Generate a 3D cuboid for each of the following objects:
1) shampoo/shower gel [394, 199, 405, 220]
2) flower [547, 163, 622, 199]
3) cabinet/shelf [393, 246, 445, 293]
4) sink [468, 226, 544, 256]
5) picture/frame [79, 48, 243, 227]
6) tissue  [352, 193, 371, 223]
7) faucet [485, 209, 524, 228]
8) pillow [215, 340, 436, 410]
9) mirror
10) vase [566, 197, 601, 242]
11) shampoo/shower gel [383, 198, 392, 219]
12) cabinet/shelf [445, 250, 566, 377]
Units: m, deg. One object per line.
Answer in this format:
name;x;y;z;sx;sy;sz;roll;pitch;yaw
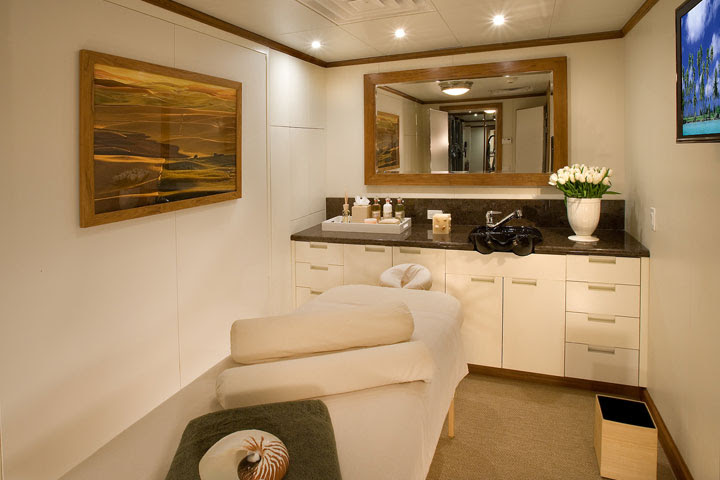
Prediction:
shampoo/shower gel;0.395;-0.307;4.767;0.092;0.192;0.299;-1;7;4
flower;1.816;-0.450;4.003;0.403;0.236;0.416;-1;4;43
cabinet/shelf;0.480;0.229;3.775;0.354;0.340;0.128;1;6;22
sink;1.224;-0.003;4.091;0.575;0.188;0.523;1;7;17
picture/frame;-1.370;-0.694;3.279;0.053;1.045;1.361;2;3;29
tissue ;0.015;-0.290;4.700;0.206;0.391;0.233;0;1;15
faucet;1.293;-0.192;4.360;0.317;0.144;0.461;1;7;18
pillow;-0.081;0.567;2.439;1.194;0.260;0.354;-2;7;-11
mirror;1.075;-1.132;4.582;1.284;0.870;0.028;2;7;24
vase;1.750;-0.175;4.002;0.313;0.358;0.330;-2;1;8
shampoo/shower gel;0.278;-0.312;4.794;0.091;0.185;0.292;-1;7;4
cabinet/shelf;1.185;0.560;3.806;0.993;1.039;0.394;0;-1;20
